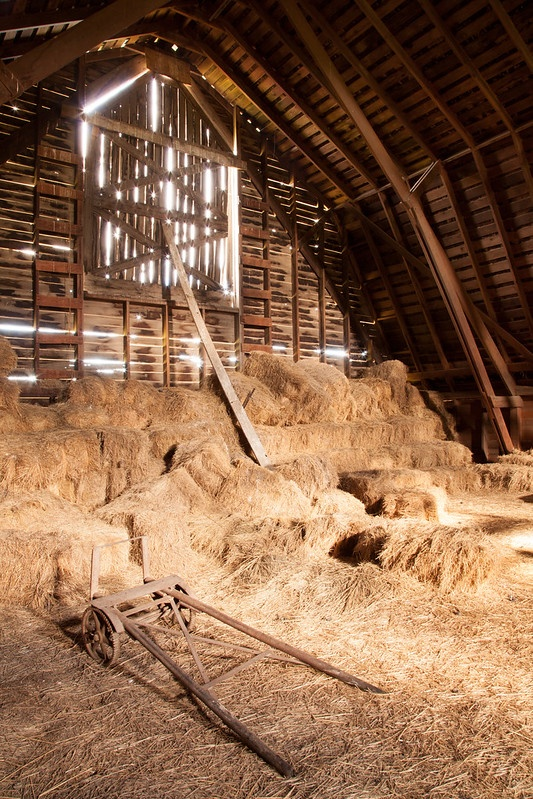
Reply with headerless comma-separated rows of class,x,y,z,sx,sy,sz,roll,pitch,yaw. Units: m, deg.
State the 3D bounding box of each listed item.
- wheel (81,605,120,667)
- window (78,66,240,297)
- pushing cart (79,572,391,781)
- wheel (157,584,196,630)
wheel,-0.665,0.963,2.362,0.049,0.152,0.153,4,33,-45
window,-1.368,-2.857,7.691,2.244,2.904,0.459,-2,3,-39
pushing cart,-0.306,0.959,2.235,0.458,0.211,0.889,1,8,-45
wheel,-0.406,0.958,2.707,0.184,0.180,0.060,34,-29,-29
